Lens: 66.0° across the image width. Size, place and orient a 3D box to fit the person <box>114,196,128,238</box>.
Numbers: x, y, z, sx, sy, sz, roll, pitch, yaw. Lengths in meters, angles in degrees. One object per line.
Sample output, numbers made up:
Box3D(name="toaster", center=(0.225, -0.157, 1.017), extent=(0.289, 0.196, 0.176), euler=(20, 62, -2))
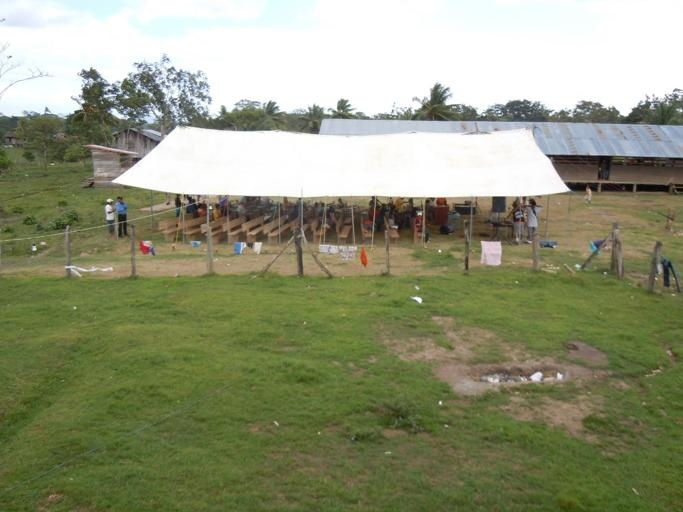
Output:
Box3D(name="person", center=(-9.257, -1.646, 22.074), extent=(0.419, 1.639, 1.250), euler=(-6, 14, -23))

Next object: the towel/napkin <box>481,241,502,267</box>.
Box3D(name="towel/napkin", center=(4.897, -0.044, 17.175), extent=(0.800, 0.862, 0.319), euler=(4, 10, 17))
